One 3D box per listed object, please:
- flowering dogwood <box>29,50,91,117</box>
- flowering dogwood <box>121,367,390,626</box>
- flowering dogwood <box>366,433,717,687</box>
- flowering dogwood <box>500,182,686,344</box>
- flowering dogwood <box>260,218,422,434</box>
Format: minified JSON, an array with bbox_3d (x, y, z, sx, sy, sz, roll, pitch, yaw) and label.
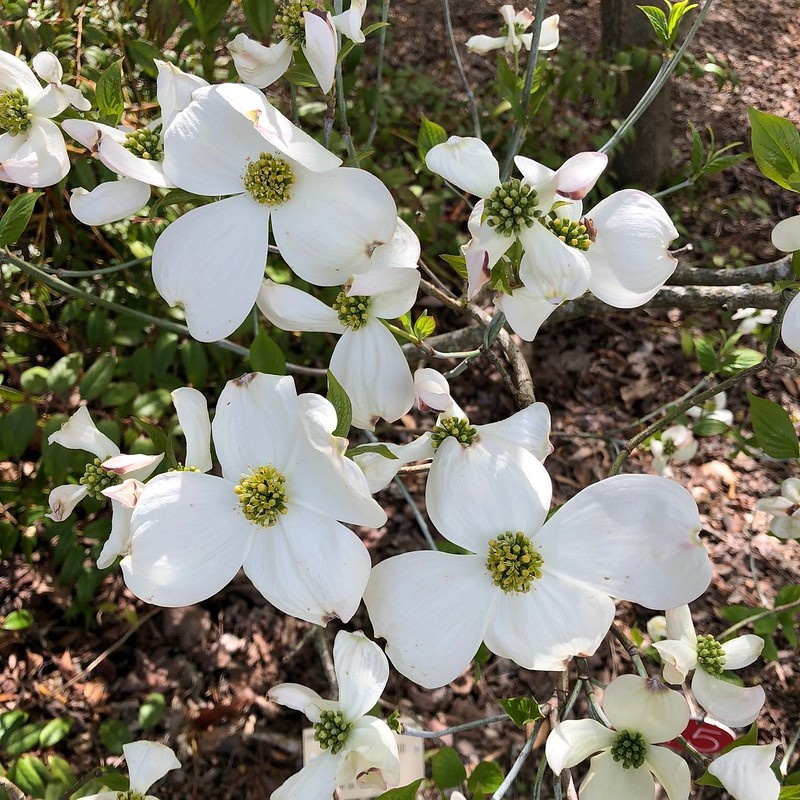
[{"bbox_3d":[-0.596,-0.556,1.410,0.152,0.055,0.040,51,4,18],"label":"flowering dogwood"},{"bbox_3d":[-0.176,0.112,1.217,0.106,0.372,0.392,25,35,-41],"label":"flowering dogwood"},{"bbox_3d":[0.176,0.256,1.259,0.361,0.478,0.169,43,32,-24],"label":"flowering dogwood"},{"bbox_3d":[0.301,-0.201,1.261,0.086,0.232,0.235,-6,76,-58],"label":"flowering dogwood"},{"bbox_3d":[-0.064,-0.156,1.369,0.272,0.326,0.127,-7,15,12],"label":"flowering dogwood"}]
